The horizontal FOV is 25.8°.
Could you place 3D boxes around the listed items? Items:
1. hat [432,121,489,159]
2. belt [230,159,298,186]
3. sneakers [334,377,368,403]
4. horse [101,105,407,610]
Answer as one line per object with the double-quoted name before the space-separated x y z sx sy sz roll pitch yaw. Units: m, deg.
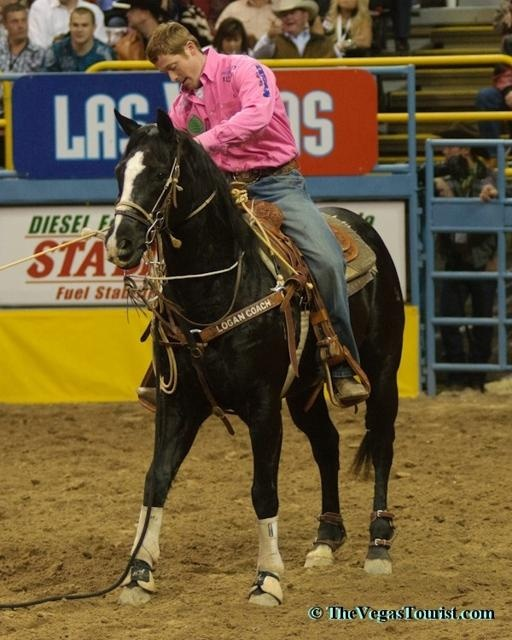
"hat" 1.707 -1.486 9.184 0.425 0.341 0.110 8 17 8
"belt" 0.027 -0.697 5.426 0.218 0.065 0.161 -6 -3 -10
"sneakers" 0.451 0.338 5.343 0.089 0.073 0.196 -2 -11 -13
"horse" 0.059 0.162 5.214 0.897 2.226 1.834 7 13 31
